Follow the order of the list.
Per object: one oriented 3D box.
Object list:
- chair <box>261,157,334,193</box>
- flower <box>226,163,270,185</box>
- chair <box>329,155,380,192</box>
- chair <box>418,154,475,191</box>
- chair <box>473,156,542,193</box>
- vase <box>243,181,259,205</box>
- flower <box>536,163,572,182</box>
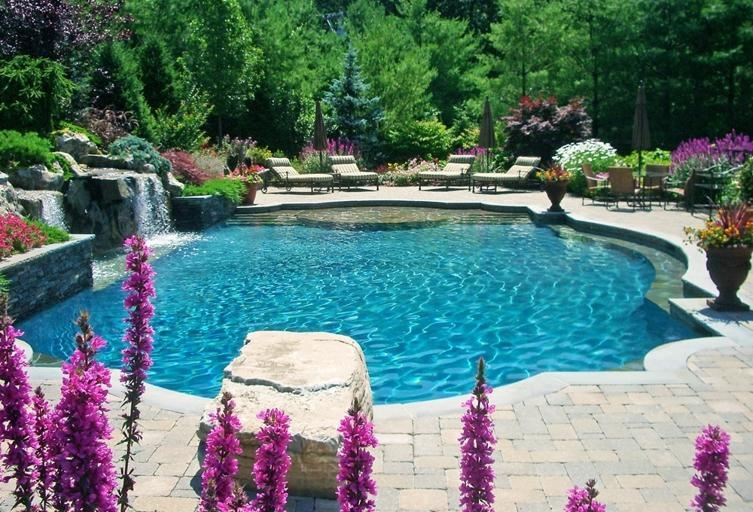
[{"bbox_3d":[-2.796,-2.916,21.751,2.218,1.273,1.437,1,7,19],"label":"chair"},{"bbox_3d":[-4.422,-2.793,20.278,1.542,0.617,1.329,-11,18,-42],"label":"flower"},{"bbox_3d":[-1.084,-3.161,22.472,1.255,1.127,1.709,-6,14,-32],"label":"chair"},{"bbox_3d":[2.747,-3.199,22.574,1.377,1.328,2.269,6,11,37],"label":"chair"},{"bbox_3d":[4.609,-2.920,20.983,2.234,1.238,1.432,-3,11,-16],"label":"chair"},{"bbox_3d":[-3.817,-1.929,18.074,0.394,0.694,0.557,5,14,29],"label":"vase"},{"bbox_3d":[4.803,-2.202,15.889,0.724,0.427,0.976,3,13,18],"label":"flower"}]
